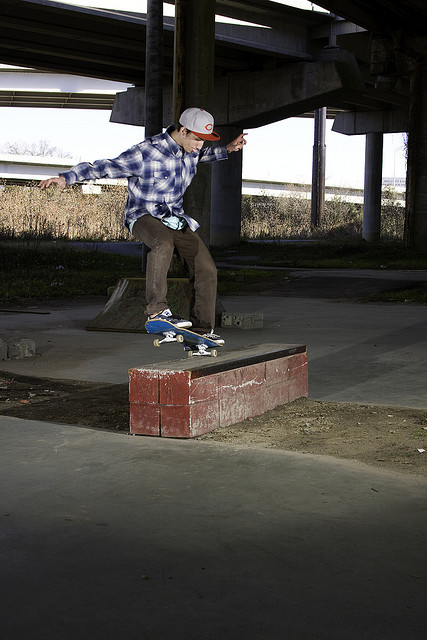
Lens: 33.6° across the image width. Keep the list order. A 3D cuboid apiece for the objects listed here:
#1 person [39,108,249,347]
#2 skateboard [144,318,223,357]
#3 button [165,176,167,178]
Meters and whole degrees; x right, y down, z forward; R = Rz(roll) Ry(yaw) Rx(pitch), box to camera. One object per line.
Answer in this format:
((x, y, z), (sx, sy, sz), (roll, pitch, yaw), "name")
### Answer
((-0.374, -0.670, 5.128), (1.213, 1.682, 0.510), (-1, 5, -17), "person")
((-0.209, 0.157, 5.074), (0.232, 0.115, 0.657), (-18, -32, 36), "skateboard")
((-0.341, -1.018, 5.006), (0.016, 0.008, 0.014), (3, -26, -4), "button")
